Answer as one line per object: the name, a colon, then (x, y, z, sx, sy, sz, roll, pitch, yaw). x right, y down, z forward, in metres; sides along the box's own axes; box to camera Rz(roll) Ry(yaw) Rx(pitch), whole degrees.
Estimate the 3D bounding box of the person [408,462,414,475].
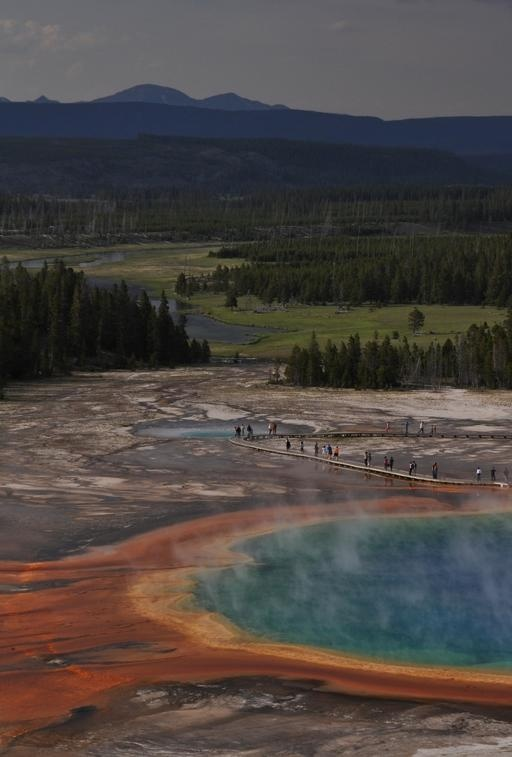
person: (8.220, 4.730, 47.794, 0.237, 0.632, 0.992, 2, 0, 10)
